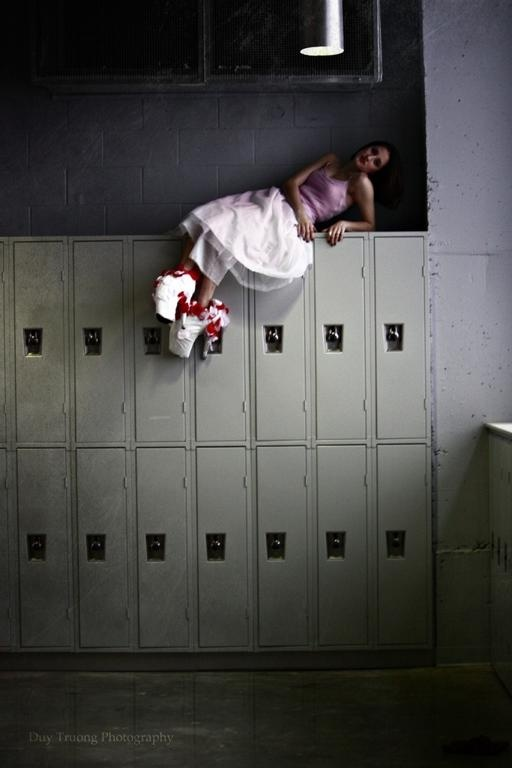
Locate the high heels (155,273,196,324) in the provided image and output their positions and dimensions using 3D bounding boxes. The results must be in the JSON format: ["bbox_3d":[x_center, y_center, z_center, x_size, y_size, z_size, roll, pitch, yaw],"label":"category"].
[{"bbox_3d":[-0.318,-0.350,3.251,0.126,0.202,0.082,17,-4,21],"label":"high heels"}]

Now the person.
[{"bbox_3d":[0.056,-0.642,3.359,0.830,0.331,1.057,16,-77,-1],"label":"person"}]

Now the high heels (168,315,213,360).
[{"bbox_3d":[-0.271,-0.195,3.299,0.131,0.082,0.174,10,-39,-13],"label":"high heels"}]
